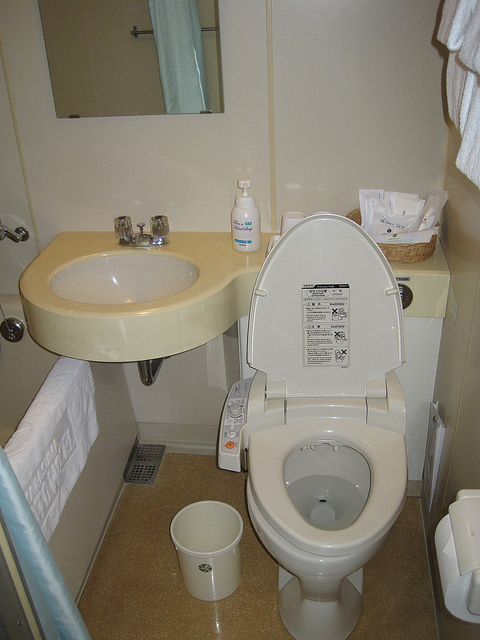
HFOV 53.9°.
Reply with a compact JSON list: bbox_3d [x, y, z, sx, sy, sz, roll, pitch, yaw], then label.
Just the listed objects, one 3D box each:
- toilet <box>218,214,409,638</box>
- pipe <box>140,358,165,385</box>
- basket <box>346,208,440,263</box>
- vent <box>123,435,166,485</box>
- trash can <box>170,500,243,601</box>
[{"bbox_3d":[0.153,0.304,1.110,0.453,0.996,0.482,5,29,19],"label":"toilet"},{"bbox_3d":[-0.250,0.139,1.358,0.057,0.092,0.077,-3,2,-3],"label":"pipe"},{"bbox_3d":[0.441,-0.210,1.245,0.140,0.078,0.191,-13,25,4],"label":"basket"},{"bbox_3d":[-0.361,0.551,1.752,0.131,0.054,0.236,9,26,-4],"label":"vent"},{"bbox_3d":[-0.077,0.611,1.319,0.172,0.256,0.231,-1,27,2],"label":"trash can"}]
